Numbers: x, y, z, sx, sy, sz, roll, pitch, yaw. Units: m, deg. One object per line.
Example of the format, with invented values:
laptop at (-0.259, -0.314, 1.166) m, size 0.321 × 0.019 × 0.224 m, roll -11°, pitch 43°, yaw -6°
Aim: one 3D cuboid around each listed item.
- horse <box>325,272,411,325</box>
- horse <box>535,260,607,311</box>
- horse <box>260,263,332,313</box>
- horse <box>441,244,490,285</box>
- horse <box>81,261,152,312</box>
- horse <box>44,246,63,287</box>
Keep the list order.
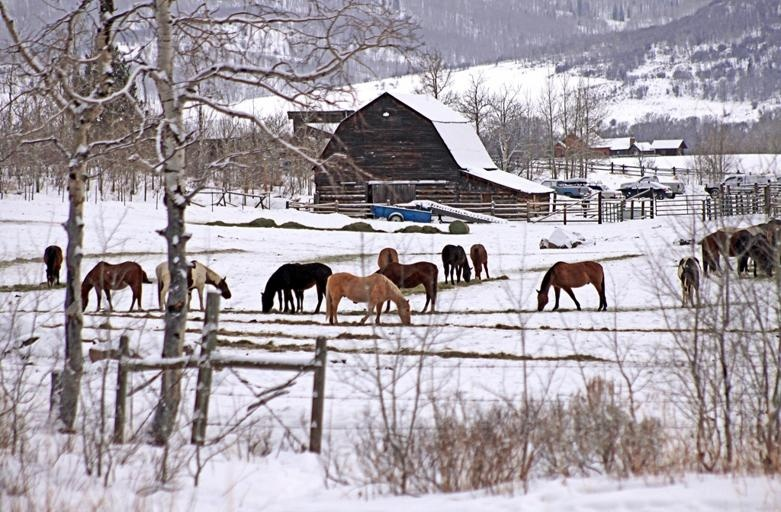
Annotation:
horse at (-0.721, 1.584, 49.664) m, size 3.090 × 1.971 × 6.421 m, roll 0°, pitch -1°, yaw -12°
horse at (7.167, 1.182, 51.768) m, size 2.681 × 1.932 × 1.342 m, roll 0°, pitch -2°, yaw 8°
horse at (-3.796, 1.255, 52.338) m, size 2.602 × 1.969 × 1.603 m, roll 0°, pitch -2°, yaw -1°
horse at (3.181, 0.354, 57.008) m, size 1.610 × 1.678 × 2.614 m, roll -1°, pitch -2°, yaw 27°
horse at (-10.783, 1.163, 51.330) m, size 2.365 × 1.903 × 5.530 m, roll 0°, pitch -1°, yaw -6°
horse at (-13.992, 0.401, 54.416) m, size 0.706 × 1.602 × 1.483 m, roll 0°, pitch -2°, yaw -14°
